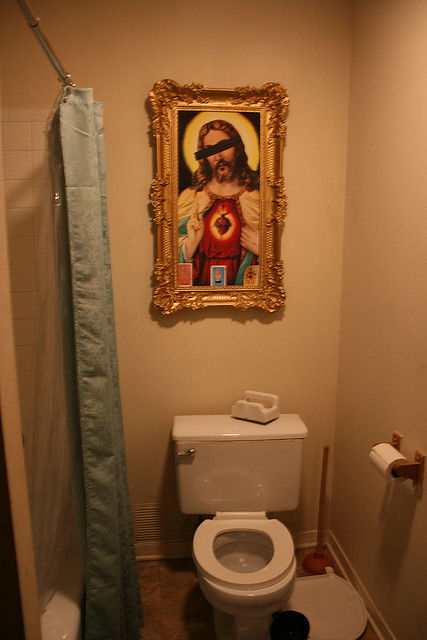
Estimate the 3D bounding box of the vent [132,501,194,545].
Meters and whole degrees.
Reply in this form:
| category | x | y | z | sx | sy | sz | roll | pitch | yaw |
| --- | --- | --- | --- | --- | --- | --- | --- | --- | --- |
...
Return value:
| category | x | y | z | sx | sy | sz | roll | pitch | yaw |
| --- | --- | --- | --- | --- | --- | --- | --- | --- | --- |
| vent | -0.215 | 0.857 | 2.274 | 0.262 | 0.185 | 0.025 | -2 | 5 | 4 |

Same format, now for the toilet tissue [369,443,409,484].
| category | x | y | z | sx | sy | sz | roll | pitch | yaw |
| --- | --- | --- | --- | --- | --- | --- | --- | --- | --- |
| toilet tissue | 0.527 | 0.430 | 1.634 | 0.076 | 0.093 | 0.118 | -1 | 10 | -7 |

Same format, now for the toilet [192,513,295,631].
| category | x | y | z | sx | sy | sz | roll | pitch | yaw |
| --- | --- | --- | --- | --- | --- | --- | --- | --- | --- |
| toilet | 0.096 | 0.851 | 1.803 | 0.318 | 0.244 | 0.424 | 0 | 10 | -3 |

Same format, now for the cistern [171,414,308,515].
| category | x | y | z | sx | sy | sz | roll | pitch | yaw |
| --- | --- | --- | --- | --- | --- | --- | --- | --- | --- |
| cistern | 0.088 | 0.532 | 1.995 | 0.542 | 0.353 | 0.329 | -1 | 3 | -2 |
